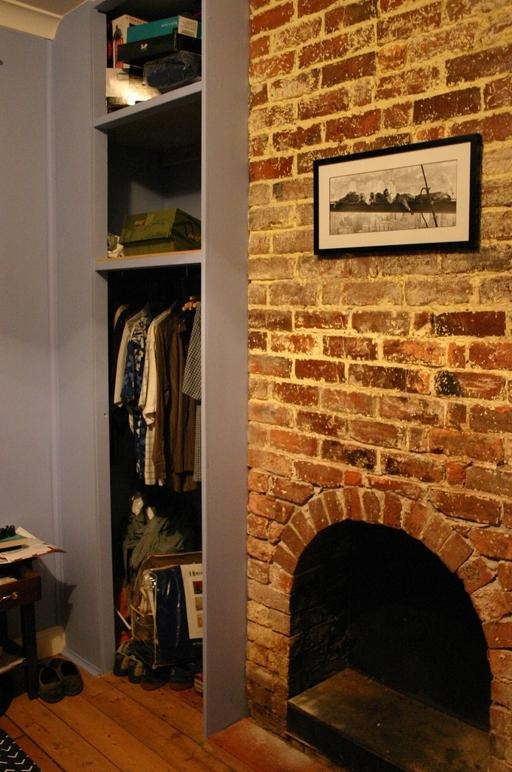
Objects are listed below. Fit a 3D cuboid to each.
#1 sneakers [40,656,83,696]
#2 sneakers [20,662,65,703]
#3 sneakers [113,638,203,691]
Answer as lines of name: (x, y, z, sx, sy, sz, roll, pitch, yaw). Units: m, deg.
sneakers: (-0.715, 1.063, 2.265, 0.085, 0.045, 0.147, 1, -6, -26)
sneakers: (-0.762, 1.067, 2.231, 0.096, 0.060, 0.161, -4, 19, -33)
sneakers: (-0.374, 1.049, 2.283, 0.181, 0.096, 0.260, 0, -6, 27)
